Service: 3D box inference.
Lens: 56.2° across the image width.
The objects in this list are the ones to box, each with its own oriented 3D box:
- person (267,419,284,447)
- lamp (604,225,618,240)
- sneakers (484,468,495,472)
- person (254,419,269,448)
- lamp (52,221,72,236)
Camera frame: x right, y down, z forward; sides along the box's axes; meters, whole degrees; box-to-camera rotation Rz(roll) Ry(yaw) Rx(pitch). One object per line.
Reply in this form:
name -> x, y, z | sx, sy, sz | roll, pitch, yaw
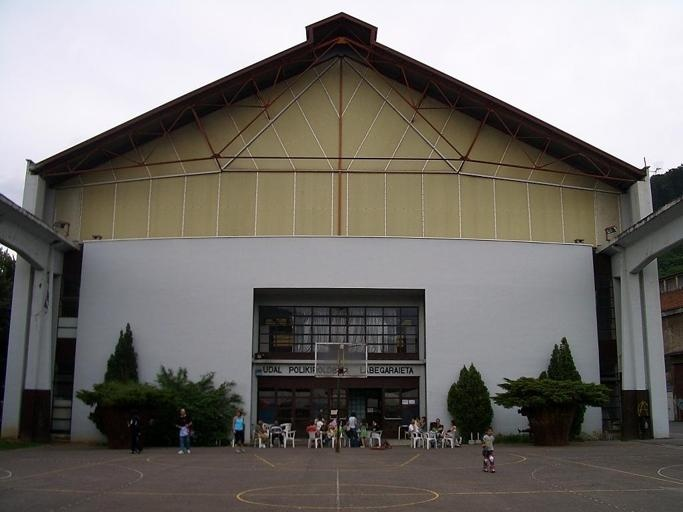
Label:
person -> -3.678, 10.299, 36.434 | 0.777, 1.527, 1.123 | 2, -20, -6
lamp -> 17.114, -1.442, 40.477 | 0.878, 1.030, 0.672 | -6, -7, 41
sneakers -> 5.581, 8.057, 24.038 | 0.432, 0.216, 0.150 | -12, -10, 36
person -> -4.417, 10.013, 35.809 | 0.793, 1.439, 1.975 | 3, -17, -8
lamp -> -17.694, -1.747, 40.579 | 0.728, 1.129, 0.498 | -4, -5, -8
